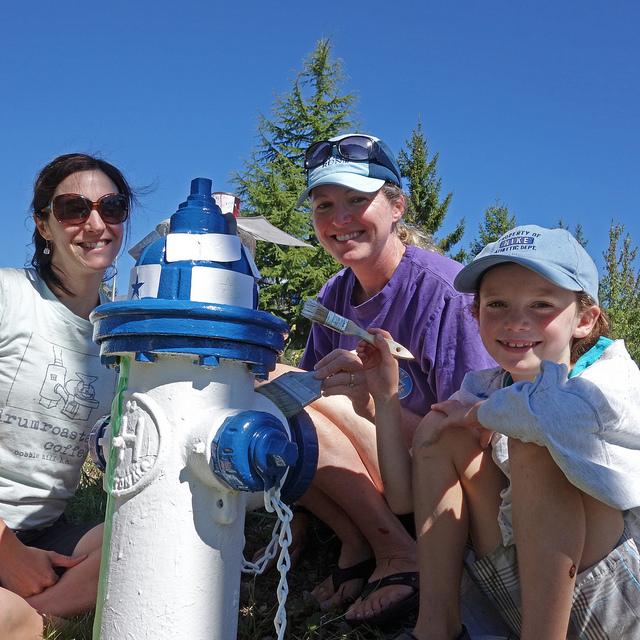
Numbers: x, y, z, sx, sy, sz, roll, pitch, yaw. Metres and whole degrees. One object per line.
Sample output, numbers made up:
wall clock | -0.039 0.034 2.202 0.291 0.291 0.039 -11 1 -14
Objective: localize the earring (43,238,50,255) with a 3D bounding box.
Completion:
earring | -1.073 -0.271 2.577 0.025 0.063 0.023 -4 9 -34

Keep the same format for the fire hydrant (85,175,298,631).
fire hydrant | -0.306 0.184 1.550 0.499 1.072 0.364 2 -6 -6

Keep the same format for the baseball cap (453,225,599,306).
baseball cap | 0.596 -0.167 1.971 0.423 0.230 0.235 -2 -8 28

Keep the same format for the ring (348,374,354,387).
ring | 0.114 0.217 2.319 0.026 0.029 0.023 0 -11 3

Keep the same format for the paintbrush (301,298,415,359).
paintbrush | 0.174 0.033 2.639 0.435 0.103 0.065 32 -13 -14

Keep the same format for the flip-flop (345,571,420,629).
flip-flop | 0.198 0.868 2.040 0.219 0.167 0.159 0 -7 10
